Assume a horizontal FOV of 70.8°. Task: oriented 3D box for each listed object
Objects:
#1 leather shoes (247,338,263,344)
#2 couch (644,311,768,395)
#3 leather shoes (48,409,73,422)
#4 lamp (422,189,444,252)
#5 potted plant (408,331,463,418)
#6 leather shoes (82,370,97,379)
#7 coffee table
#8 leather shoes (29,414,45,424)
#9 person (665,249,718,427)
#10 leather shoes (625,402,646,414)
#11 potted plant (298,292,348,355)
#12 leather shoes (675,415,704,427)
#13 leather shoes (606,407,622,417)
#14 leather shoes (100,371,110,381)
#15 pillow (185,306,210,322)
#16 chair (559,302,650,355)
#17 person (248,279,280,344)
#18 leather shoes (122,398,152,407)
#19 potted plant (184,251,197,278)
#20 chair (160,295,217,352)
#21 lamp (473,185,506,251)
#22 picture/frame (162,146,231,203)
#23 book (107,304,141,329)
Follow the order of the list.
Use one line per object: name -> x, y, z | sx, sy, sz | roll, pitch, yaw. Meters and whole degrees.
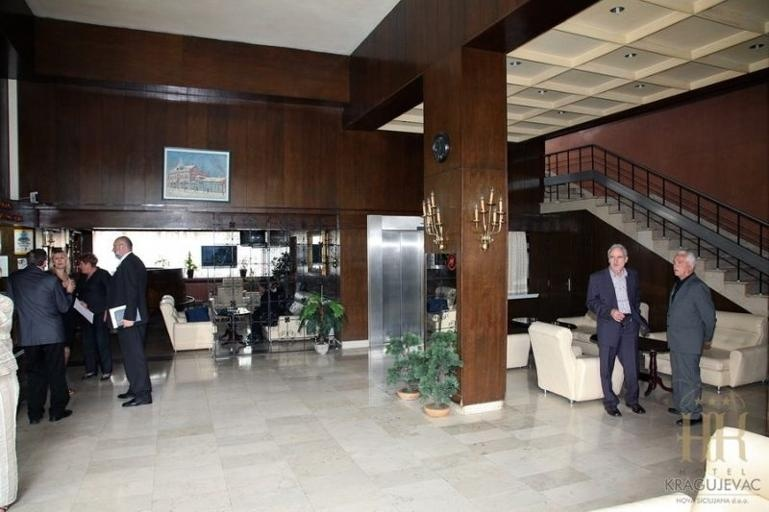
leather shoes -> -2.962, 1.914, 12.234 | 0.229, 0.139, 0.053 | 1, 3, -18
couch -> 6.251, 1.815, 10.168 | 1.337, 1.304, 1.893 | 0, 0, -32
leather shoes -> -5.155, 2.528, 8.627 | 0.121, 0.149, 0.344 | 4, 7, 25
lamp -> 0.829, -0.577, 9.157 | 0.421, 0.954, 0.301 | 0, 12, 40
potted plant -> 0.851, 1.869, 8.738 | 0.784, 1.293, 0.572 | 4, 12, 21
leather shoes -> -5.713, 2.276, 10.434 | 0.211, 0.078, 0.116 | 8, -6, -42
coffee table -> 4.726, 1.882, 9.819 | 1.353, 0.857, 1.363 | -1, 0, 0
leather shoes -> -5.475, 2.545, 8.502 | 0.169, 0.153, 0.148 | -5, 7, -22
person -> 4.755, 1.256, 8.473 | 0.534, 2.593, 0.644 | -2, 11, -8
leather shoes -> 4.118, 2.485, 8.873 | 0.140, 0.104, 0.273 | -2, -1, -24
potted plant -> -1.450, 1.506, 12.238 | 1.235, 1.259, 1.128 | -2, 2, 0
leather shoes -> 4.754, 2.551, 8.403 | 0.438, 0.104, 0.252 | 2, 11, 10
leather shoes -> 3.693, 2.501, 8.693 | 0.104, 0.092, 0.203 | -3, -3, -17
leather shoes -> -5.364, 2.303, 10.377 | 0.123, 0.087, 0.224 | 1, -3, -5
pillow -> -4.392, 1.384, 12.660 | 0.483, 0.484, 0.211 | -3, -10, -11
chair -> 3.974, 1.319, 9.703 | 0.660, 0.856, 1.247 | 1, 0, -15
person -> -2.680, 1.222, 12.511 | 0.680, 1.767, 0.474 | 6, 22, 31
leather shoes -> -4.186, 2.461, 9.195 | 0.470, 0.185, 0.165 | 5, -5, -9
potted plant -> -6.810, 0.281, 18.861 | 0.350, 0.795, 0.494 | -1, 11, 0
chair -> -4.615, 1.568, 12.630 | 1.213, 1.124, 1.215 | 1, 3, -14
lamp -> 1.644, -0.601, 8.764 | 0.587, 1.055, 0.627 | -2, -7, 31
picture/frame -> -4.125, -1.785, 11.641 | 1.238, 1.033, 0.092 | 0, 0, -22
book -> -4.440, 1.004, 8.969 | 0.280, 0.396, 0.058 | -1, 11, -2
